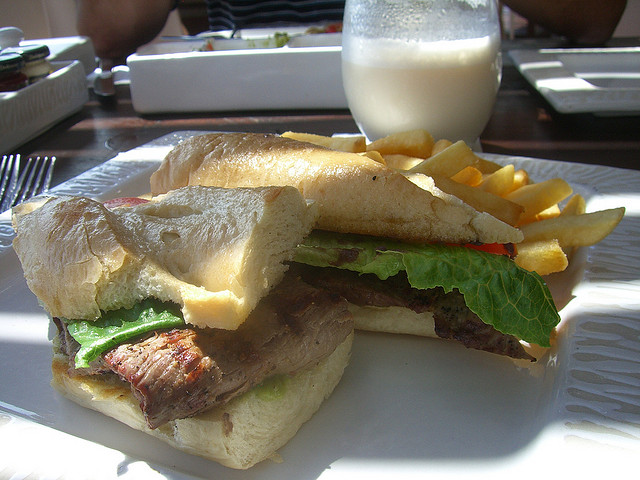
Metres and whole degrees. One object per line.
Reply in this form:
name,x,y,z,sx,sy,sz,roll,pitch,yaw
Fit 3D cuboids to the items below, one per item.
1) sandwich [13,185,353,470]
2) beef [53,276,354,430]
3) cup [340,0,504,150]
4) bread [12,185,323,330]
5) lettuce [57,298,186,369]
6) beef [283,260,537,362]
sandwich,-0.214,0.138,1.460,0.629,0.435,0.759,13,28,21
beef,-0.204,0.233,1.262,0.416,0.110,0.400,-20,24,-31
cup,0.364,-0.607,2.032,0.555,0.536,0.493,-7,33,-1
bread,-0.345,0.026,1.275,0.487,0.143,0.448,10,22,26
lettuce,-0.443,0.185,1.257,0.216,0.068,0.164,-15,34,-21
beef,0.145,0.205,1.570,0.143,0.133,0.659,23,-8,-26
